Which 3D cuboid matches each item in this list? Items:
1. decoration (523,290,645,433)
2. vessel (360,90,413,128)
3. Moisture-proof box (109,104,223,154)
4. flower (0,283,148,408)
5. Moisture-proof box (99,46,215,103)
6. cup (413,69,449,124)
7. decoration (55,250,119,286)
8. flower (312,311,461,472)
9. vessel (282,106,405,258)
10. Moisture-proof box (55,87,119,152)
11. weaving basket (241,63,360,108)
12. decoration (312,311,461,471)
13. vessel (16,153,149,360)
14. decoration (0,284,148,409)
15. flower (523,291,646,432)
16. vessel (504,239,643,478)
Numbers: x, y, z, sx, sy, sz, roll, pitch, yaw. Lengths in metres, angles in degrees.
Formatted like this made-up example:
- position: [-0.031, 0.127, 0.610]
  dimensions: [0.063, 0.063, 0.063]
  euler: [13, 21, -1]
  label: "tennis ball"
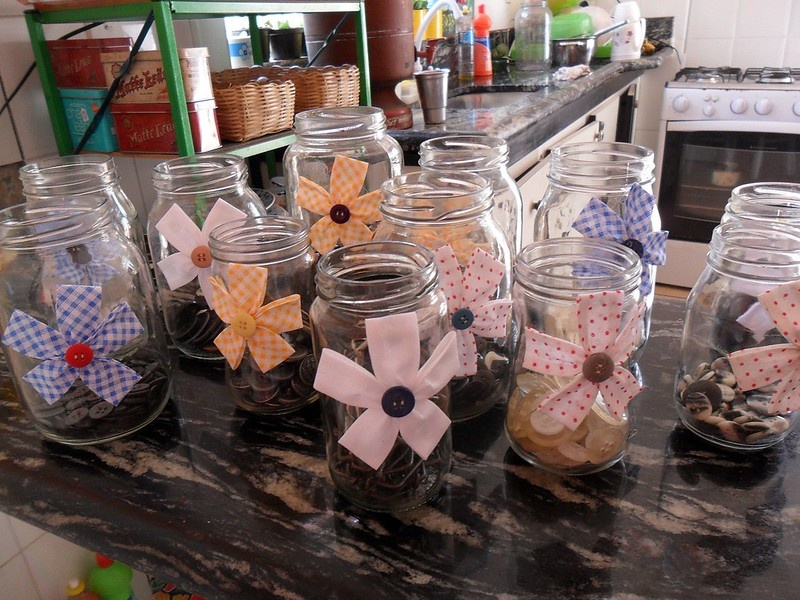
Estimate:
- position: [0.199, 0.060, 0.655]
  dimensions: [0.135, 0.138, 0.057]
  euler: [-8, 24, -7]
  label: "decoration"
- position: [-0.047, -0.544, 1.740]
  dimensions: [0.166, 0.109, 0.150]
  euler: [-8, 31, -13]
  label: "vessel"
- position: [-0.471, -0.362, 1.281]
  dimensions: [0.207, 0.089, 0.110]
  euler: [4, 23, 17]
  label: "Moisture-proof box"
- position: [-0.382, 0.050, 0.780]
  dimensions: [0.150, 0.157, 0.045]
  euler: [-51, 19, 0]
  label: "flower"
- position: [-0.483, -0.447, 1.258]
  dimensions: [0.193, 0.087, 0.110]
  euler: [9, 23, 28]
  label: "Moisture-proof box"
- position: [0.086, -0.544, 1.678]
  dimensions: [0.112, 0.124, 0.109]
  euler: [-6, 16, 2]
  label: "cup"
- position: [-0.391, -0.039, 0.762]
  dimensions: [0.051, 0.017, 0.040]
  euler: [11, 22, 3]
  label: "decoration"
- position: [-0.015, 0.091, 0.639]
  dimensions: [0.179, 0.142, 0.076]
  euler: [-8, 33, -10]
  label: "flower"
- position: [-0.094, -0.197, 0.985]
  dimensions: [0.186, 0.215, 0.214]
  euler: [1, 29, -4]
  label: "vessel"
- position: [-0.684, -0.389, 1.331]
  dimensions: [0.087, 0.097, 0.080]
  euler: [-1, 15, -22]
  label: "Moisture-proof box"
- position: [-0.273, -0.526, 1.558]
  dimensions: [0.308, 0.089, 0.235]
  euler: [-12, 19, -27]
  label: "weaving basket"
- position: [-0.015, 0.090, 0.639]
  dimensions: [0.179, 0.143, 0.075]
  euler: [-8, 33, -10]
  label: "decoration"
- position: [-0.469, -0.089, 0.932]
  dimensions: [0.140, 0.200, 0.154]
  euler: [-7, 4, 43]
  label: "vessel"
- position: [-0.378, 0.051, 0.773]
  dimensions: [0.150, 0.157, 0.043]
  euler: [-50, 19, 0]
  label: "decoration"
- position: [0.205, 0.069, 0.670]
  dimensions: [0.167, 0.143, 0.052]
  euler: [-8, 7, -30]
  label: "flower"
- position: [0.214, 0.077, 0.729]
  dimensions: [0.204, 0.243, 0.176]
  euler: [-2, 9, 5]
  label: "vessel"
